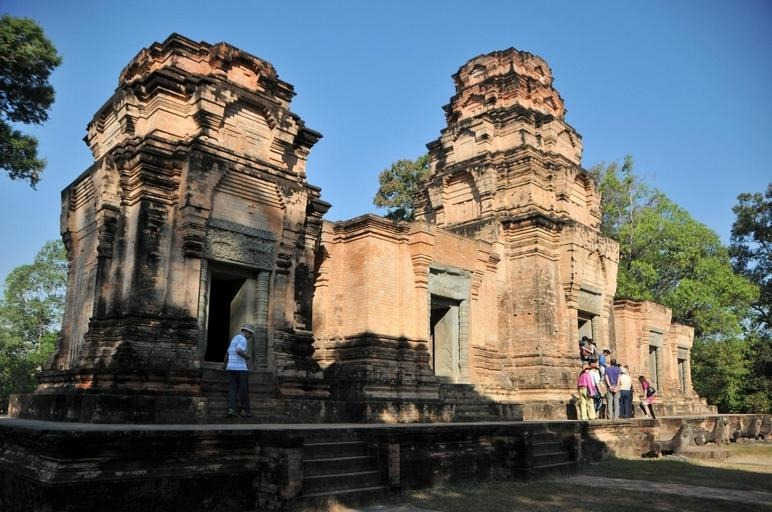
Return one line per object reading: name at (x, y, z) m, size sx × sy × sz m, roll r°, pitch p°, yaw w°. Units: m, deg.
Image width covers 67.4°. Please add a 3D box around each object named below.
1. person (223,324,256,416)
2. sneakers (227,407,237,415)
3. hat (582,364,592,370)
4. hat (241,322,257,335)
person at (-3.291, 2.573, 12.965) m, size 0.595 × 2.008 × 1.204 m, roll 4°, pitch -20°, yaw -12°
sneakers at (-3.317, 3.378, 12.494) m, size 0.193 × 0.134 × 0.136 m, roll 5°, pitch -21°, yaw -15°
hat at (6.427, 3.559, 18.480) m, size 0.328 × 0.097 × 0.326 m, roll -11°, pitch -5°, yaw -5°
hat at (-3.149, 1.646, 13.193) m, size 0.304 × 0.212 × 0.408 m, roll 12°, pitch -23°, yaw -1°
